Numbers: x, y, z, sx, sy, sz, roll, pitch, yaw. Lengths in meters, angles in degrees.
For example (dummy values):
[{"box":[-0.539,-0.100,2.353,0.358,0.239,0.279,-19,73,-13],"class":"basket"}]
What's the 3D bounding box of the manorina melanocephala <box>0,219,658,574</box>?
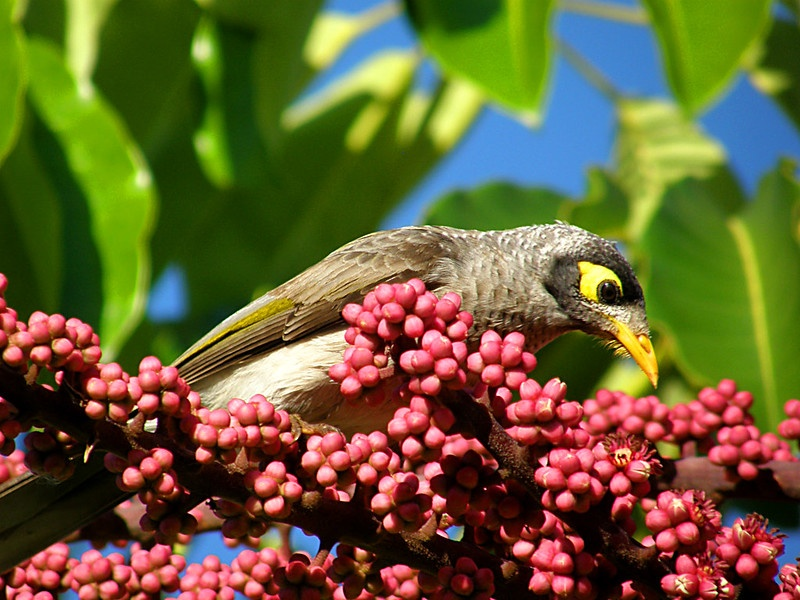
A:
[{"box":[-0.274,0.297,3.096,2.071,0.654,0.553,-21,-5,-8],"class":"manorina melanocephala"}]
